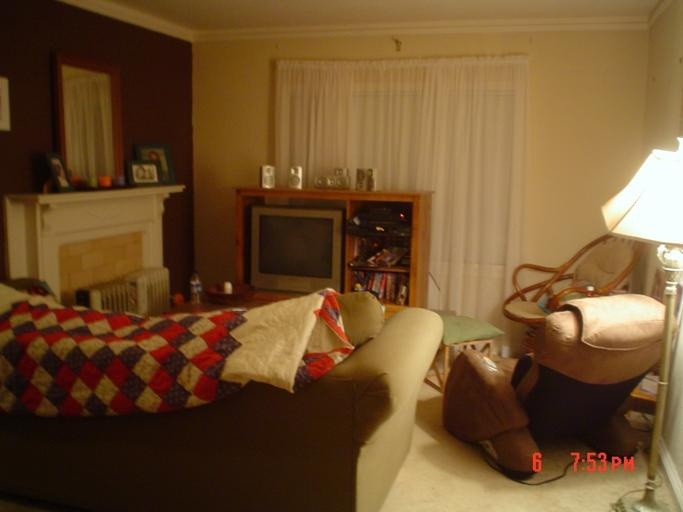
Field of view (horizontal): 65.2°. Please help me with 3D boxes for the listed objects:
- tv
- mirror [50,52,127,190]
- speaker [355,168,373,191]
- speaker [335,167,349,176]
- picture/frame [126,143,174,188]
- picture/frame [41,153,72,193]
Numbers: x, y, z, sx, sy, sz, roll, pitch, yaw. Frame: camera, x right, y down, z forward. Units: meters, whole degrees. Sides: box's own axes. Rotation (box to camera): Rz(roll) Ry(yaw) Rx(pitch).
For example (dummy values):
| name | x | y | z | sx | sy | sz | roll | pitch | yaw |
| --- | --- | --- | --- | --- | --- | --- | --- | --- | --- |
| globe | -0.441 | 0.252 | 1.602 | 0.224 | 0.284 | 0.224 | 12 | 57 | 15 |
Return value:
| name | x | y | z | sx | sy | sz | roll | pitch | yaw |
| --- | --- | --- | --- | --- | --- | --- | --- | --- | --- |
| tv | -0.412 | -0.148 | 4.866 | 0.806 | 0.745 | 0.461 | 3 | 24 | -2 |
| mirror | -1.989 | -1.066 | 4.207 | 0.712 | 0.904 | 0.041 | 14 | 20 | 26 |
| speaker | 0.188 | -0.656 | 4.616 | 0.205 | 0.217 | 0.114 | 2 | 4 | 22 |
| speaker | -0.005 | -0.752 | 4.762 | 0.107 | 0.061 | 0.113 | 2 | 14 | 8 |
| picture/frame | -1.716 | -0.795 | 4.694 | 0.029 | 0.400 | 0.401 | -2 | 12 | 27 |
| picture/frame | -2.038 | -0.582 | 3.810 | 0.038 | 0.280 | 0.200 | -5 | 0 | 20 |
